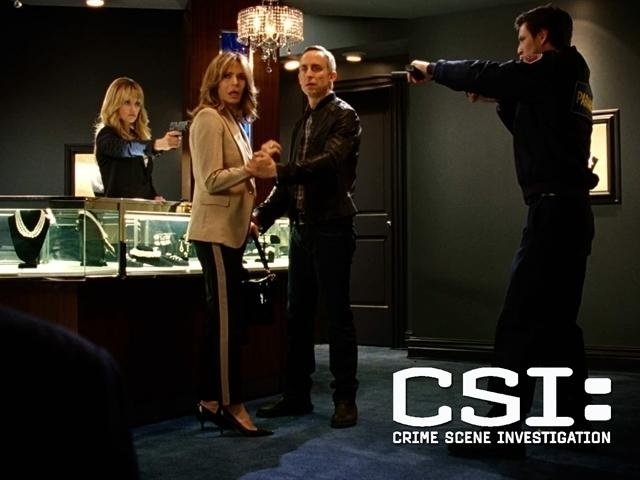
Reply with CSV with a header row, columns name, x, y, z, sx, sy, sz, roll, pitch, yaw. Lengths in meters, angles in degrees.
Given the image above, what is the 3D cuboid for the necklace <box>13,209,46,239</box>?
name,x,y,z,sx,sy,sz,roll,pitch,yaw
necklace,-1.389,-0.073,2.629,0.115,0.147,0.055,-3,3,-12

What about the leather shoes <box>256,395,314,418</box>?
name,x,y,z,sx,sy,sz,roll,pitch,yaw
leather shoes,-0.184,0.954,3.187,0.366,0.140,0.120,3,-7,-13

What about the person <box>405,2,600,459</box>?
name,x,y,z,sx,sy,sz,roll,pitch,yaw
person,0.940,-0.069,2.435,0.753,1.879,0.425,3,-6,-37

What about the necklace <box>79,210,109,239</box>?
name,x,y,z,sx,sy,sz,roll,pitch,yaw
necklace,-1.103,-0.069,2.687,0.032,0.136,0.149,-4,-5,33

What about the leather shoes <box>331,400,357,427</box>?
name,x,y,z,sx,sy,sz,roll,pitch,yaw
leather shoes,0.128,0.927,2.921,0.149,0.118,0.123,0,-4,-7

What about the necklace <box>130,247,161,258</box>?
name,x,y,z,sx,sy,sz,roll,pitch,yaw
necklace,-0.928,0.070,2.931,0.123,0.053,0.044,1,7,-15

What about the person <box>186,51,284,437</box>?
name,x,y,z,sx,sy,sz,roll,pitch,yaw
person,-0.429,0.023,2.689,0.414,1.889,0.455,0,-5,-6
